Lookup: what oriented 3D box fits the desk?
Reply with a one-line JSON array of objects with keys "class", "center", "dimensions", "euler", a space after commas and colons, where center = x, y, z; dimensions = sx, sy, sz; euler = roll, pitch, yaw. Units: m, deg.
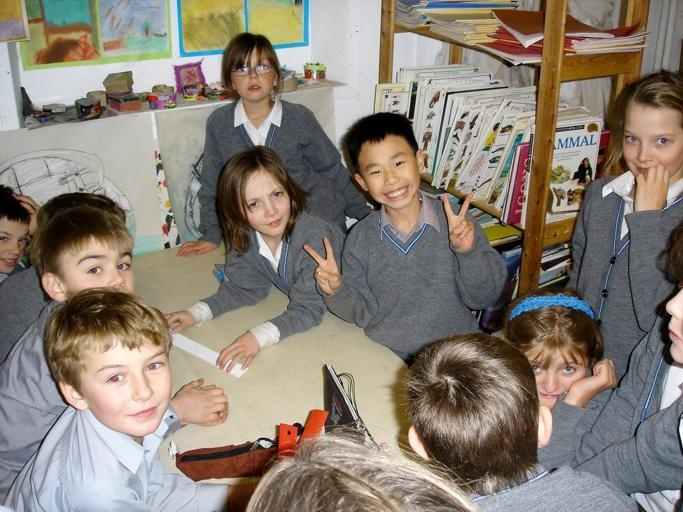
[{"class": "desk", "center": [-0.213, 0.312, 1.553], "dimensions": [0.492, 0.423, 0.875], "euler": [-20, 46, -24]}]
